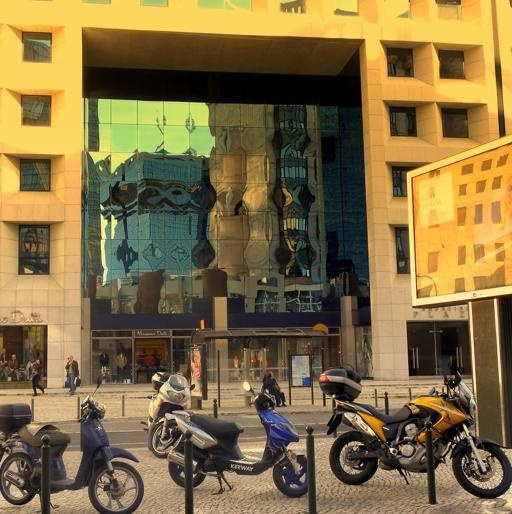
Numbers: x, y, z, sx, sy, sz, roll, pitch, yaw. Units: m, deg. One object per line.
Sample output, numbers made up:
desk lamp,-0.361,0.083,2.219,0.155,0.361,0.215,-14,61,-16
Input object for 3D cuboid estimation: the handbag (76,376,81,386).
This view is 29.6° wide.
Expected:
handbag,-7.433,5.266,40.727,0.130,0.442,0.292,10,-6,-42

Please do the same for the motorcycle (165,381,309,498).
motorcycle,-0.301,3.033,15.233,2.596,1.900,1.299,-1,-4,4

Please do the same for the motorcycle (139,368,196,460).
motorcycle,-1.899,3.229,19.688,0.872,1.727,2.698,13,-14,-13
